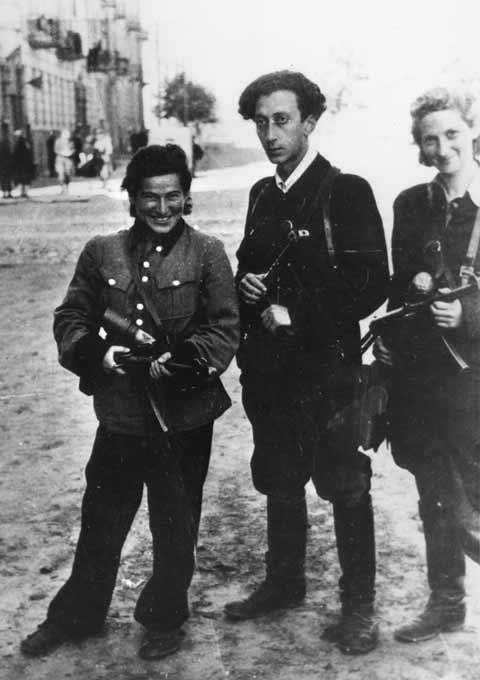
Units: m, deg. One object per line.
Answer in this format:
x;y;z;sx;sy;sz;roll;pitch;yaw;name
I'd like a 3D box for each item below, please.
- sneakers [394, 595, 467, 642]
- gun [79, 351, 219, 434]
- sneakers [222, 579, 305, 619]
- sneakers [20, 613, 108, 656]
0.695;0.990;3.112;0.298;0.196;0.112;-2;-2;-16;sneakers
-0.277;0.105;2.749;0.380;0.158;0.289;5;19;-16;gun
0.099;0.929;3.161;0.329;0.174;0.113;-2;8;-9;sneakers
-0.606;0.991;2.995;0.302;0.136;0.107;-7;33;-30;sneakers
